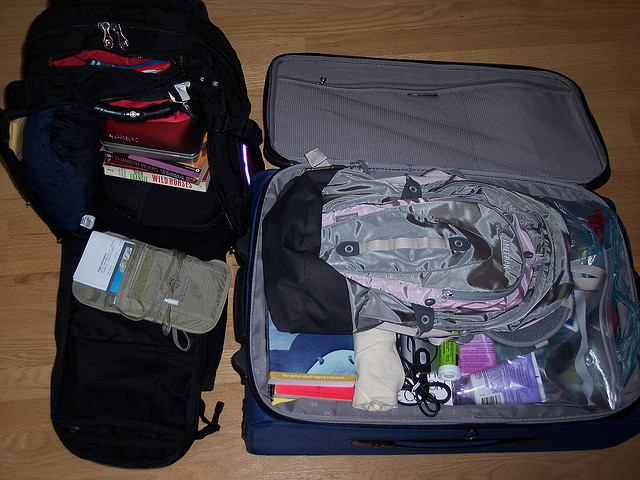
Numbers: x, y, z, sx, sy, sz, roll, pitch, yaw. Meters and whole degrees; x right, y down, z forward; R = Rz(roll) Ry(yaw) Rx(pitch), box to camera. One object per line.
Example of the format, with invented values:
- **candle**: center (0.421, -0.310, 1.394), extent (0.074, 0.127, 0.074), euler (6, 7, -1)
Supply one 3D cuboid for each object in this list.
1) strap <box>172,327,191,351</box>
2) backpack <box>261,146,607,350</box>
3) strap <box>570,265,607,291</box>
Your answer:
- **strap**: center (-0.382, 0.280, 1.740), extent (0.041, 0.017, 0.067), euler (-4, 92, -20)
- **backpack**: center (0.286, 0.067, 1.638), extent (0.887, 0.264, 0.512), euler (9, 61, 8)
- **strap**: center (0.688, 0.096, 1.587), extent (0.065, 0.060, 0.080), euler (-5, 92, -5)
